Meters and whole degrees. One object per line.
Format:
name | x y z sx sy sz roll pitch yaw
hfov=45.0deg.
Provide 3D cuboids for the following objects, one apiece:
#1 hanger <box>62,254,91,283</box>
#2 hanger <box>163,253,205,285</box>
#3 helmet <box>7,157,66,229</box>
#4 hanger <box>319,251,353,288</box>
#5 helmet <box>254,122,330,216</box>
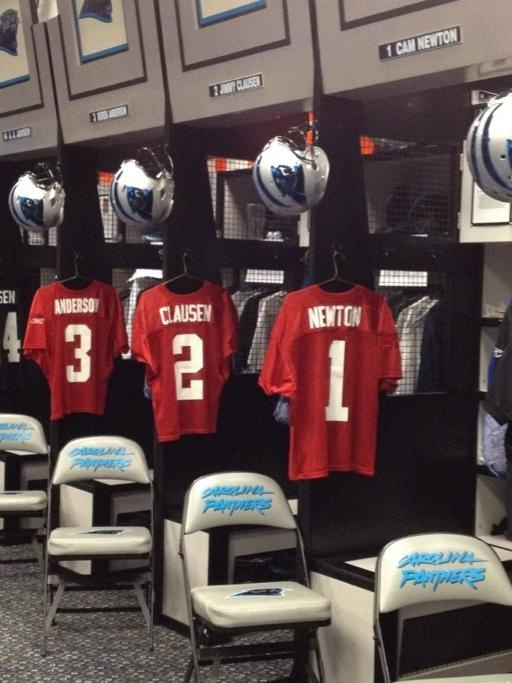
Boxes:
hanger | -1.249 -0.503 4.253 0.214 0.225 0.015 -4 4 -39
hanger | -0.407 -0.396 3.380 0.008 0.136 0.197 3 6 45
helmet | -1.333 -0.889 3.966 0.368 0.499 0.424 3 6 3
hanger | 0.334 -0.313 2.656 0.159 0.167 0.009 -6 16 -31
helmet | 0.127 -0.640 2.351 0.240 0.262 0.196 -3 -8 45
